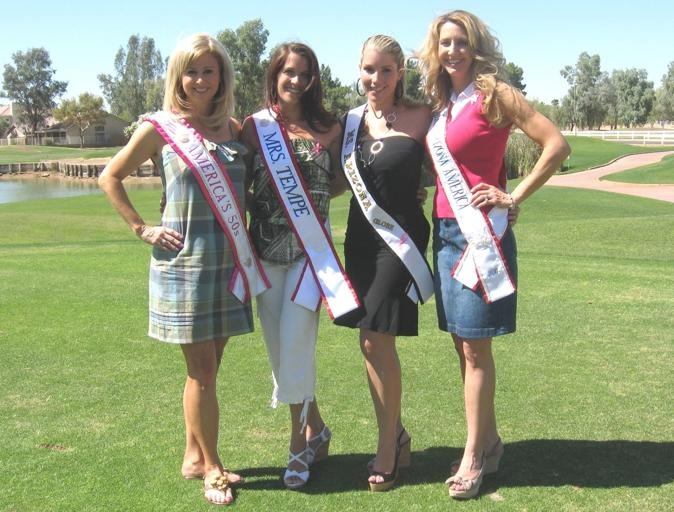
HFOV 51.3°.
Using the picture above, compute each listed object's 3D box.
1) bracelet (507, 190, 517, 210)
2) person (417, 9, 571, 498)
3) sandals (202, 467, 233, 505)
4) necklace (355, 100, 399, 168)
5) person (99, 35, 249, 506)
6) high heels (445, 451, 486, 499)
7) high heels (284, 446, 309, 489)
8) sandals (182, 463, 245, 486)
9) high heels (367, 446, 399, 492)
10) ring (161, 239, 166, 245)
[{"bbox_3d":[0.970,-0.300,3.901,0.039,0.080,0.057,-6,4,12],"label":"bracelet"},{"bbox_3d":[0.732,-0.059,3.980,0.746,2.530,0.806,-10,18,-37],"label":"person"},{"bbox_3d":[-0.642,1.235,3.789,0.159,0.115,0.187,-2,16,-10],"label":"sandals"},{"bbox_3d":[0.190,-0.661,4.006,0.185,0.368,0.079,-4,-19,7],"label":"necklace"},{"bbox_3d":[-0.799,-0.001,3.973,0.911,2.380,0.715,11,17,34],"label":"person"},{"bbox_3d":[0.688,1.213,3.813,0.105,0.141,0.310,-3,-8,24],"label":"high heels"},{"bbox_3d":[-0.230,1.190,3.934,0.136,0.140,0.175,-1,15,-6],"label":"high heels"},{"bbox_3d":[-0.720,1.226,3.983,0.347,0.152,0.134,-3,26,15],"label":"sandals"},{"bbox_3d":[0.268,1.181,3.956,0.177,0.158,0.268,3,16,6],"label":"high heels"},{"bbox_3d":[-0.945,-0.073,3.807,0.026,0.021,0.008,4,49,7],"label":"ring"}]
